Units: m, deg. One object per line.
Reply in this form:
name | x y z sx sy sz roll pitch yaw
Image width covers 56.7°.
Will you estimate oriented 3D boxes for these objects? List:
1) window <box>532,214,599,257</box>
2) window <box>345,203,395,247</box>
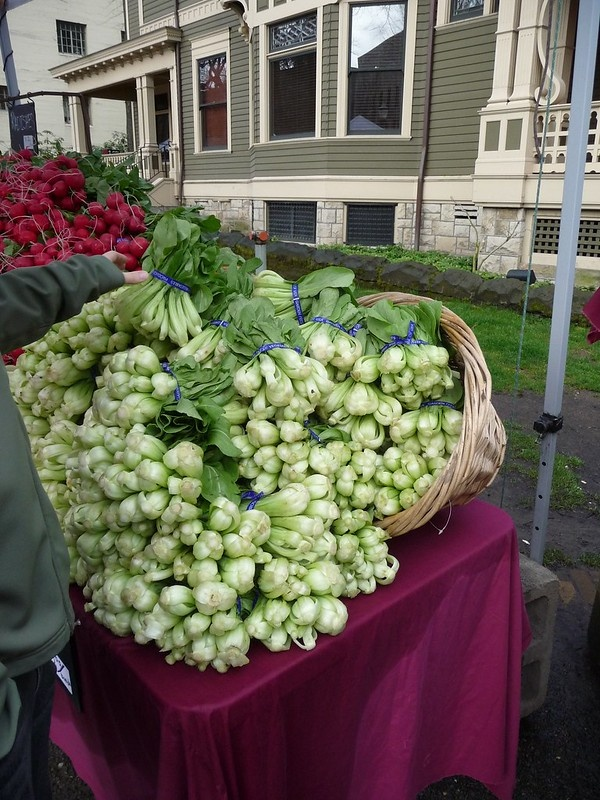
window | 4.433 -2.680 9.196 0.320 0.596 1.244 -12 23 -34
window | 1.548 -3.783 11.932 0.939 0.839 0.363 5 11 24
